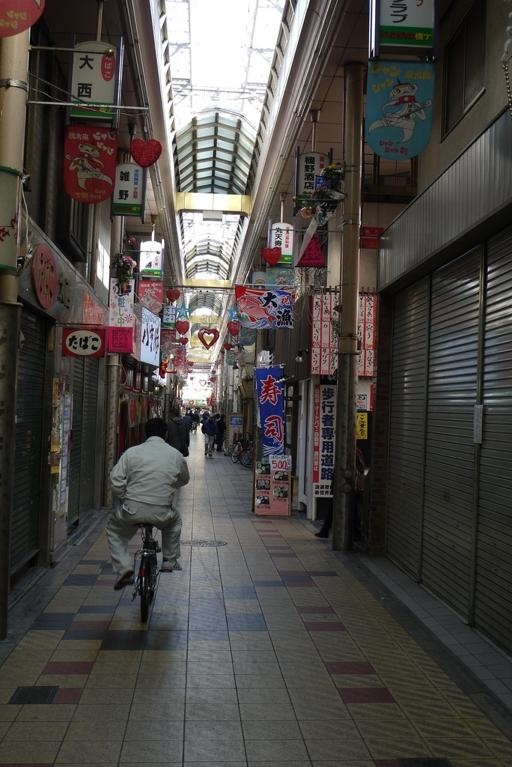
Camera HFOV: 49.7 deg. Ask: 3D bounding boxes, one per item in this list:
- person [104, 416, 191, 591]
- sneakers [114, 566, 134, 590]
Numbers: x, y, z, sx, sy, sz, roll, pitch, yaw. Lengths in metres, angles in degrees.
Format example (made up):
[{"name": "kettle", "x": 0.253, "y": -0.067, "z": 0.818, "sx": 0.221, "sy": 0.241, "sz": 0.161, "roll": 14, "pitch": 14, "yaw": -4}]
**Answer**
[{"name": "person", "x": -0.801, "y": 0.874, "z": 4.093, "sx": 0.514, "sy": 1.297, "sz": 0.624, "roll": -1, "pitch": -9, "yaw": 12}, {"name": "sneakers", "x": -0.899, "y": 1.337, "z": 3.798, "sx": 0.101, "sy": 0.152, "sz": 0.193, "roll": 8, "pitch": -11, "yaw": -34}]
